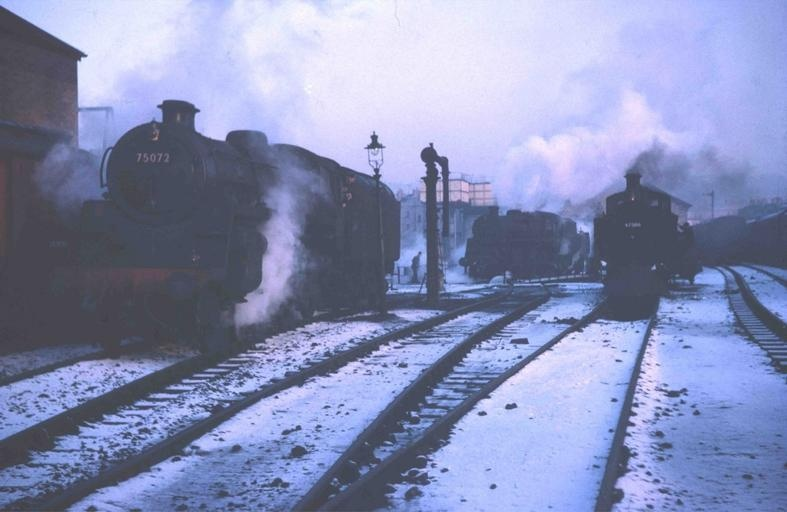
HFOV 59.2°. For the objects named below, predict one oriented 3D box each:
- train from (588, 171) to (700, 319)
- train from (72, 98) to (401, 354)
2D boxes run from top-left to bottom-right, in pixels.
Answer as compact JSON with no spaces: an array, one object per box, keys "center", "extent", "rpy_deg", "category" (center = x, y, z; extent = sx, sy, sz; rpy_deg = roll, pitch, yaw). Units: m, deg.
[{"center":[8.882,-0.732,24.583],"extent":[3.179,4.679,7.950],"rpy_deg":[-1,-1,22],"category":"train"},{"center":[-4.775,-0.948,18.664],"extent":[3.022,4.593,11.825],"rpy_deg":[1,3,-3],"category":"train"}]
